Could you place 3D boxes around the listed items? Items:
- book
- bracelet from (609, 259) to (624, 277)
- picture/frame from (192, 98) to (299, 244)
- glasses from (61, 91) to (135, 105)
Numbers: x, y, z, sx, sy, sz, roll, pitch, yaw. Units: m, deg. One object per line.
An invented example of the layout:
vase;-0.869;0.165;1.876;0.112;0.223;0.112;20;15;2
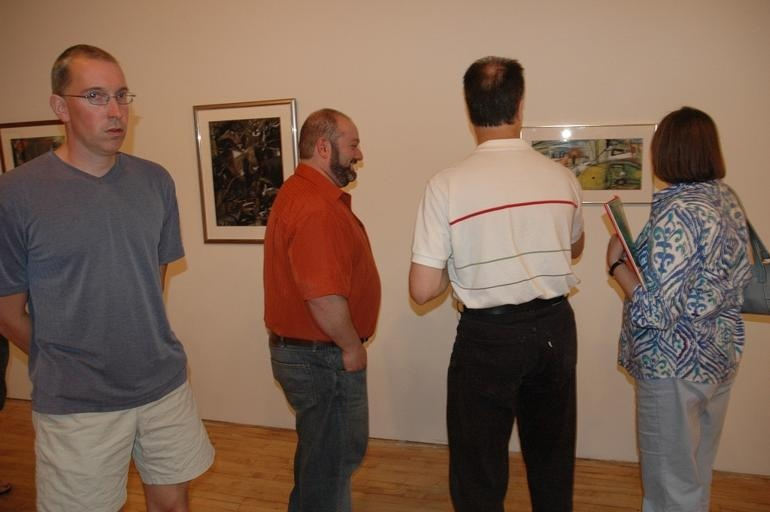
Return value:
book;1.427;-0.088;3.684;0.070;0.466;0.634;-24;1;21
bracelet;1.305;0.078;3.514;0.022;0.083;0.082;27;24;25
picture/frame;-0.957;-0.641;4.401;1.049;1.253;0.082;1;8;14
glasses;-1.389;-0.765;3.025;0.316;0.073;0.122;-6;10;-28
